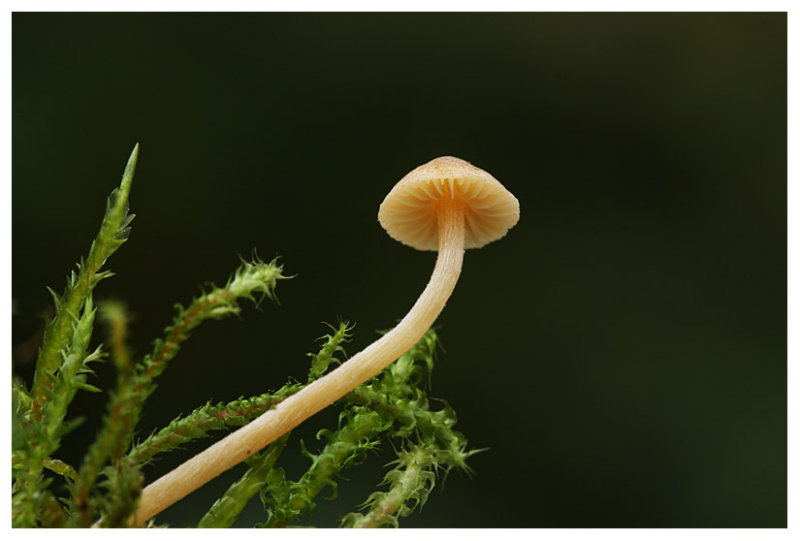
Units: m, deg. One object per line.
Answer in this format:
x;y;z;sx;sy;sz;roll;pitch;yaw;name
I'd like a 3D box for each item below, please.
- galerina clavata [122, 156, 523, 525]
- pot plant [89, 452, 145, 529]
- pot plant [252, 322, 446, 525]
-0.423;0.280;2.706;2.029;0.543;0.806;-31;-50;8;galerina clavata
-0.782;0.621;2.035;0.119;0.182;0.203;27;-53;-12;pot plant
-0.163;0.542;2.418;0.447;0.381;0.876;-5;-92;48;pot plant
